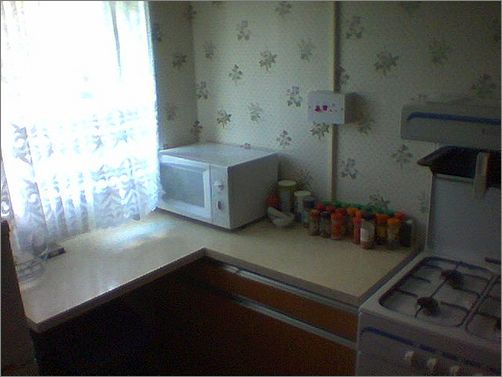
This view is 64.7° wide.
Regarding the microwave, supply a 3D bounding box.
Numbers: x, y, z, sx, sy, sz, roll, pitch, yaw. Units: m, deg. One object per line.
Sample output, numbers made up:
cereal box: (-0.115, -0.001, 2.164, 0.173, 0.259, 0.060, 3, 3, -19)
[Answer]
microwave: (-0.204, -0.033, 2.450, 0.654, 0.407, 0.441, 11, 19, 33)
